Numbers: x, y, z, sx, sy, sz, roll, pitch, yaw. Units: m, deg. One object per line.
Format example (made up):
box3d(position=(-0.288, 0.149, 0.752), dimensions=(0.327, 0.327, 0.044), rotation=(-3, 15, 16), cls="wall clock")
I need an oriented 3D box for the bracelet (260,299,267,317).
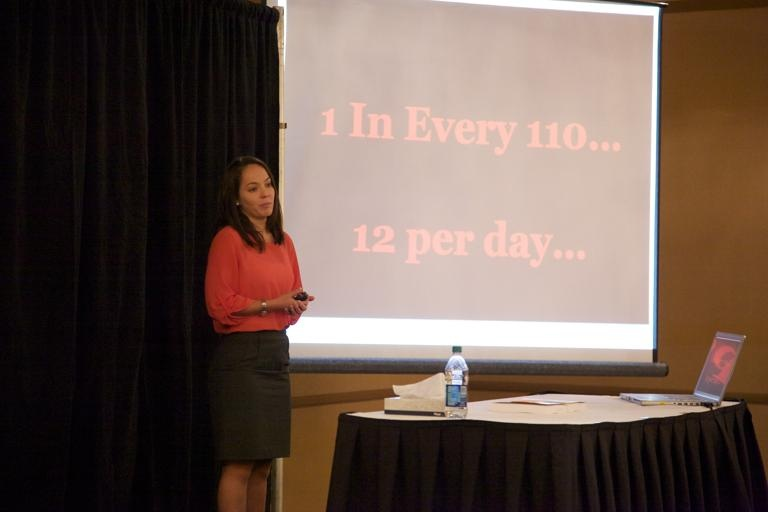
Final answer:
box3d(position=(-0.615, 0.269, 3.962), dimensions=(0.035, 0.053, 0.017), rotation=(1, 3, -37), cls="bracelet")
